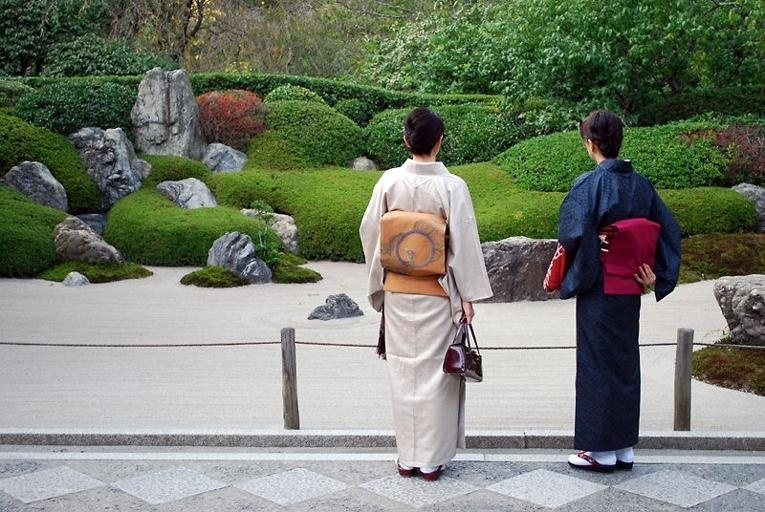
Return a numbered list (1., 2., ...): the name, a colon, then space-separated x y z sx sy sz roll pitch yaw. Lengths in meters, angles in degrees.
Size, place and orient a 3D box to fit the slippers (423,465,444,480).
1. slippers: 0.648 2.812 15.240 0.137 0.119 0.313 4 9 19
